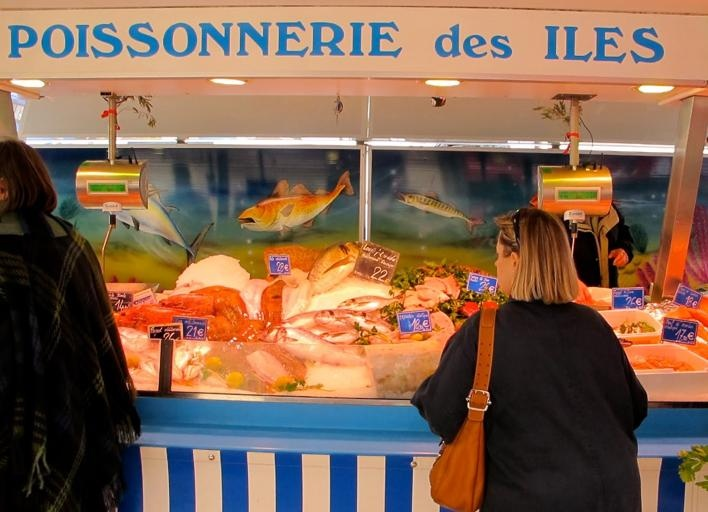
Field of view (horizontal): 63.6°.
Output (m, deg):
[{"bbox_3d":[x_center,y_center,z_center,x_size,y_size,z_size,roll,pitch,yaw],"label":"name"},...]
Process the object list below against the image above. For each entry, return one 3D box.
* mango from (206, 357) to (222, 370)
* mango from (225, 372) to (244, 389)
[{"bbox_3d":[-0.711,0.544,2.919,0.067,0.067,0.037,-42,4,5],"label":"mango"},{"bbox_3d":[-0.610,0.634,2.911,0.088,0.082,0.062,9,29,-7],"label":"mango"}]
